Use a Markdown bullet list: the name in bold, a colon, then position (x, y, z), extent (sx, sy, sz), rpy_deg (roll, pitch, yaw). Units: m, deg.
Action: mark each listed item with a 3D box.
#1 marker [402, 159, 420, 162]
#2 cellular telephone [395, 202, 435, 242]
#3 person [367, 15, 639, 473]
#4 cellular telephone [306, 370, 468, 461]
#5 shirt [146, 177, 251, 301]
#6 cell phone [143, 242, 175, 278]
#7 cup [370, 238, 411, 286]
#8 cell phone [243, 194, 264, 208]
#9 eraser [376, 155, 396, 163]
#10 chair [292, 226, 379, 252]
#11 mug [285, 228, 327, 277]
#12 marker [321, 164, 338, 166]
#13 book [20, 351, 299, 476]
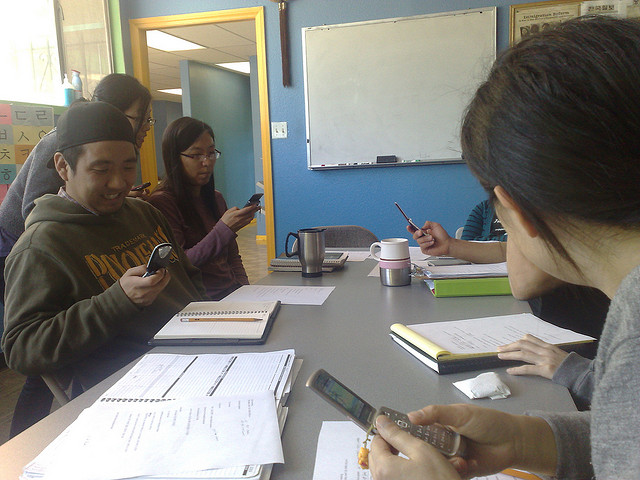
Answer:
- **marker**: position (0.737, -0.644, 3.848), extent (0.130, 0.022, 0.017), rpy_deg (-4, 15, 6)
- **cellular telephone**: position (0.631, -0.143, 3.130), extent (0.052, 0.345, 0.104), rpy_deg (-40, 3, 14)
- **person**: position (0.293, 0.046, 0.769), extent (0.367, 0.743, 0.416), rpy_deg (-1, 16, 17)
- **cellular telephone**: position (0.112, 0.302, 0.805), extent (0.281, 0.038, 0.069), rpy_deg (27, 22, 7)
- **shirt**: position (-0.563, 0.012, 2.364), extent (0.415, 0.593, 0.475), rpy_deg (2, 13, -5)
- **cell phone**: position (-0.452, 0.055, 1.316), extent (0.043, 0.042, 0.179), rpy_deg (-5, -16, -33)
- **cup**: position (0.249, 0.080, 1.698), extent (0.113, 0.164, 0.167), rpy_deg (-8, 10, -35)
- **cell phone**: position (-0.300, -0.176, 2.083), extent (0.080, 0.067, 0.148), rpy_deg (-8, 15, -9)
- **eraser**: position (0.545, -0.664, 3.876), extent (0.150, 0.055, 0.034), rpy_deg (-4, 15, 4)
- **chair**: position (0.169, -0.011, 2.859), extent (0.311, 0.126, 0.219), rpy_deg (-2, 2, 6)
- **mug**: position (-0.061, 0.050, 1.882), extent (0.179, 0.189, 0.113), rpy_deg (-1, 1, -17)
- **marker**: position (0.079, -0.631, 3.988), extent (0.110, 0.013, 0.020), rpy_deg (0, 16, 19)
- **book**: position (-0.252, 0.311, 0.916), extent (0.405, 0.047, 0.404), rpy_deg (-3, 15, 8)
